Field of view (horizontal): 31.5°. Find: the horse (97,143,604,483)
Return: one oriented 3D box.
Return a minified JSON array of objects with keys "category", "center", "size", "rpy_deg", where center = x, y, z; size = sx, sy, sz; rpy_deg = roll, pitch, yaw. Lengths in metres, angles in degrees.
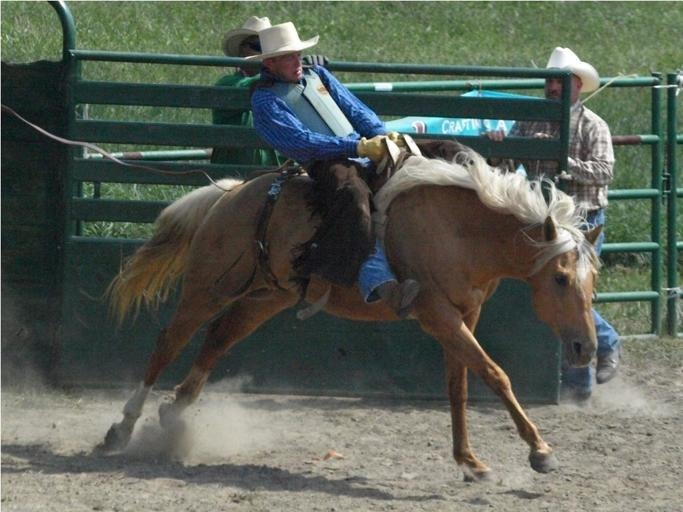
[{"category":"horse","center":[0.156,0.443,10.058],"size":[3.838,2.641,0.734],"rpy_deg":[2,9,12]}]

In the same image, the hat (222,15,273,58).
[{"category":"hat","center":[-0.939,-2.147,11.512],"size":[0.480,0.205,0.541],"rpy_deg":[-15,37,10]}]

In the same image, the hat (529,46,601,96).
[{"category":"hat","center":[2.205,-1.789,11.405],"size":[0.421,0.205,0.542],"rpy_deg":[10,-16,21]}]

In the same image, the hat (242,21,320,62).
[{"category":"hat","center":[-0.585,-1.849,10.241],"size":[0.539,0.183,0.532],"rpy_deg":[24,45,37]}]

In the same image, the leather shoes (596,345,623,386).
[{"category":"leather shoes","center":[2.430,1.022,11.296],"size":[0.159,0.194,0.434],"rpy_deg":[5,41,34]}]
